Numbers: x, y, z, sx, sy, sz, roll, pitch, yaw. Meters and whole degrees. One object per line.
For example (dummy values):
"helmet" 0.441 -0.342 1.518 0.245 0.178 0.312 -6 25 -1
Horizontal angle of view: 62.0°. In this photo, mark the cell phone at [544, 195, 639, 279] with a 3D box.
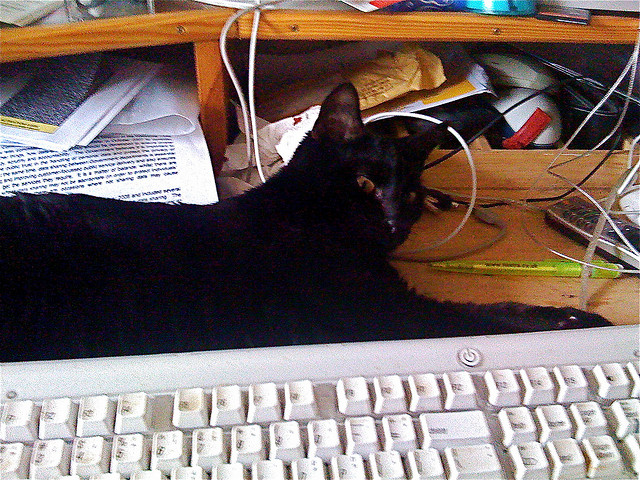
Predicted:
"cell phone" 0.389 -0.008 0.748 0.160 0.034 0.070 30 77 16

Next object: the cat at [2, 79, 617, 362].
"cat" 0.045 -0.044 0.709 1.007 0.277 0.244 -5 35 -7

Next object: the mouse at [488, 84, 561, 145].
"mouse" 0.318 -0.179 0.821 0.040 0.116 0.073 -43 40 19
